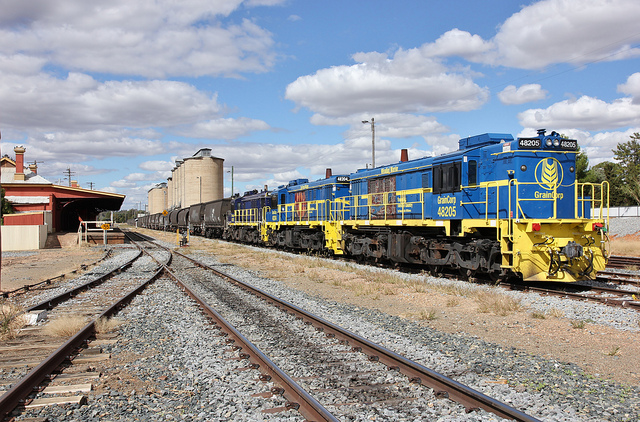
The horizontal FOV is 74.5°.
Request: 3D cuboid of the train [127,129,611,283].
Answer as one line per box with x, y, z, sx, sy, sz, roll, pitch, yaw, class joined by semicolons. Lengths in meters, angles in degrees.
0.362;0.531;28.400;5.603;5.515;32.712;7;-6;-31;train
